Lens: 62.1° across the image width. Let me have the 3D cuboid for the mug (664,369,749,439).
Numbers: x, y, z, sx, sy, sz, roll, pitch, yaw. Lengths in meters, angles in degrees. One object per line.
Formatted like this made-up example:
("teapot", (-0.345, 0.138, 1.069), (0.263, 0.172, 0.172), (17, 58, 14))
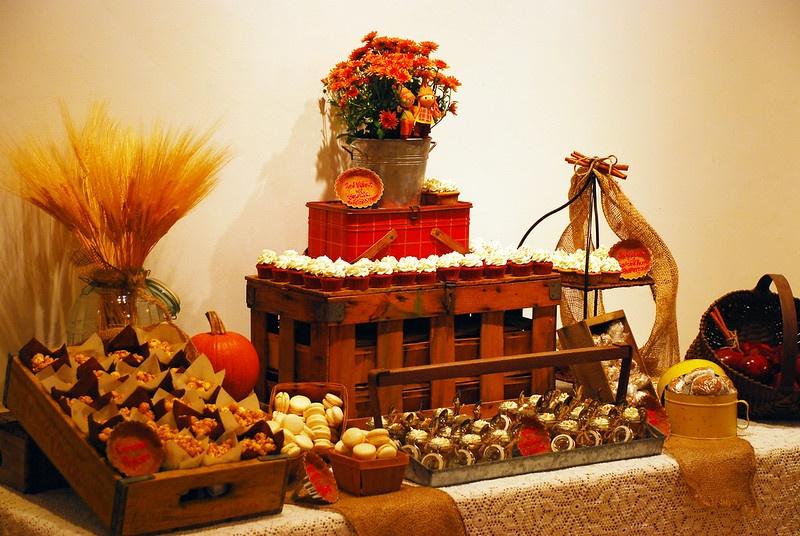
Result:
("mug", (0.982, 0.439, 2.162), (0.236, 0.180, 0.184), (-1, -3, 12))

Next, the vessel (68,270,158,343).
("vessel", (-0.977, 0.121, 2.213), (0.227, 0.226, 0.218), (-2, 0, 27))

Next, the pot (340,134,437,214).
("pot", (-0.050, -0.320, 2.442), (0.286, 0.193, 0.255), (-4, 2, -40))

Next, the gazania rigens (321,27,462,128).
("gazania rigens", (-0.046, -0.764, 2.422), (0.445, 0.314, 0.422), (-5, 25, -10))

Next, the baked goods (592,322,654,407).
("baked goods", (0.802, 0.368, 2.395), (0.199, 0.289, 0.084), (-9, -24, -7))

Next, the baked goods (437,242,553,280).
("baked goods", (0.322, -0.018, 2.346), (0.278, 0.093, 0.188), (-1, 1, -12))
